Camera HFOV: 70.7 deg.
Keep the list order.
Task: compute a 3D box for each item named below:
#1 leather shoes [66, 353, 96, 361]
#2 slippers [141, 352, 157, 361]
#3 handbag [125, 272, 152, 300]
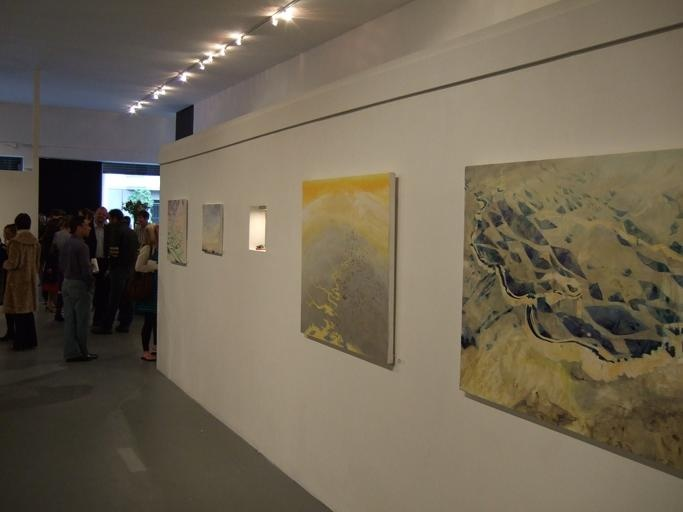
[{"bbox_3d":[-3.767,1.474,6.992,0.368,0.165,0.127,7,-4,-37],"label":"leather shoes"},{"bbox_3d":[-2.888,1.504,7.222,0.103,0.133,0.302,-4,2,-44],"label":"slippers"},{"bbox_3d":[-2.893,0.440,6.916,0.322,0.386,0.127,0,-12,14],"label":"handbag"}]
